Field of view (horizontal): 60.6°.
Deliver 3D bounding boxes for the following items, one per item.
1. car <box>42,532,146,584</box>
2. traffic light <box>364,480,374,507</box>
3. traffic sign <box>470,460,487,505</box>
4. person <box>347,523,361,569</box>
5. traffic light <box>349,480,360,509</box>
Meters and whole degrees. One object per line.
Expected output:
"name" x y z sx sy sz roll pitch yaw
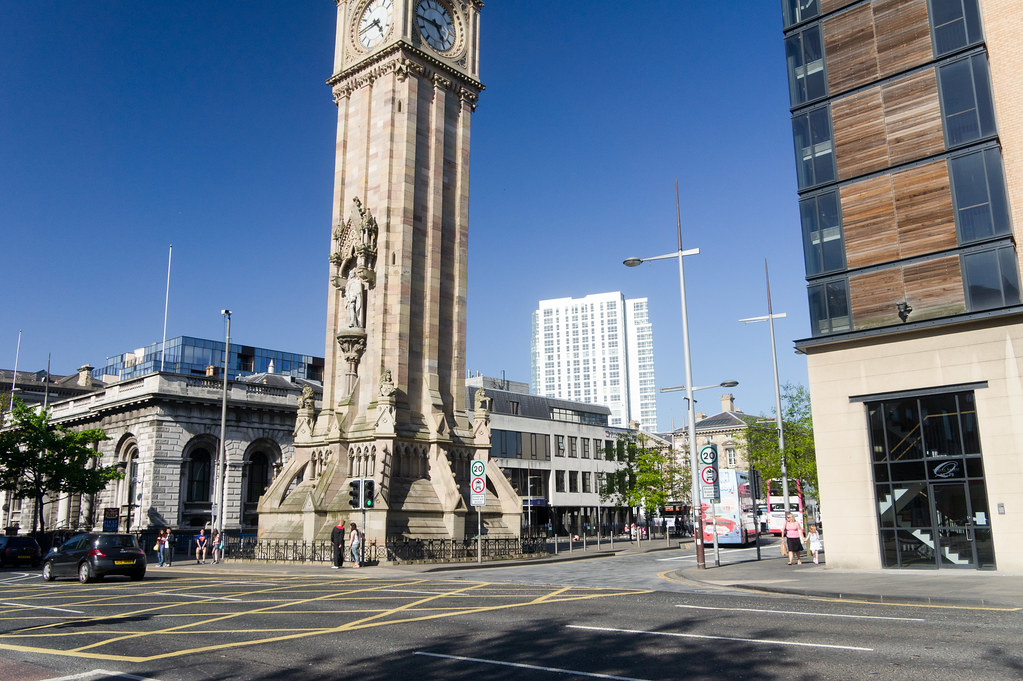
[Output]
"car" -16.867 8.717 35.206 3.886 1.898 1.806 -3 -6 21
"traffic light" -6.549 7.029 40.221 0.419 1.275 0.233 2 -7 -23
"traffic sign" -1.617 6.866 42.244 0.568 2.101 0.865 -2 -6 8
"person" -7.098 9.387 40.110 0.366 1.807 0.794 2 -7 -29
"traffic light" -7.166 7.022 40.140 0.467 1.271 0.308 2 -7 -30
